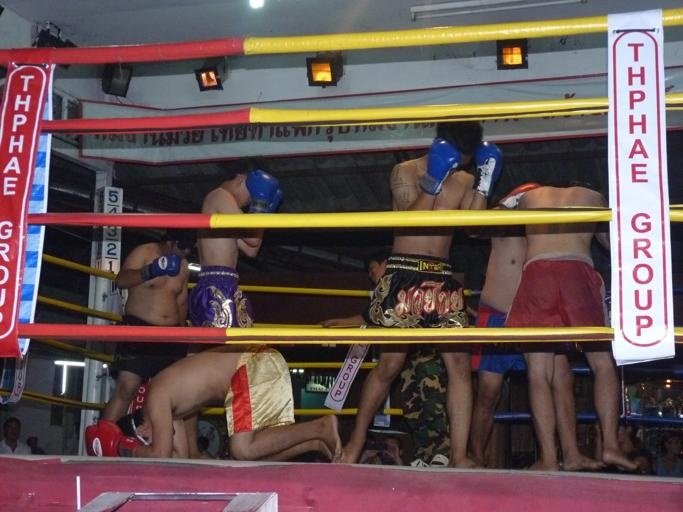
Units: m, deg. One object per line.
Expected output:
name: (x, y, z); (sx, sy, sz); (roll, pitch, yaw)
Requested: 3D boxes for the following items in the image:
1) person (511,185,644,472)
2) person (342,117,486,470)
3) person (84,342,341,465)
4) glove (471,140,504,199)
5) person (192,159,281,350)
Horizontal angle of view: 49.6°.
person: (1.079, 0.301, 3.486); (0.557, 1.380, 0.391); (1, -11, 11)
person: (0.402, 0.151, 3.723); (0.756, 1.759, 0.759); (-3, -12, 28)
person: (-0.608, 0.714, 3.581); (1.288, 0.558, 0.483); (0, -10, 9)
glove: (0.743, -0.441, 3.714); (0.131, 0.288, 0.142); (14, 24, 25)
person: (-0.554, -0.004, 3.888); (0.449, 0.993, 0.623); (5, -11, -11)
